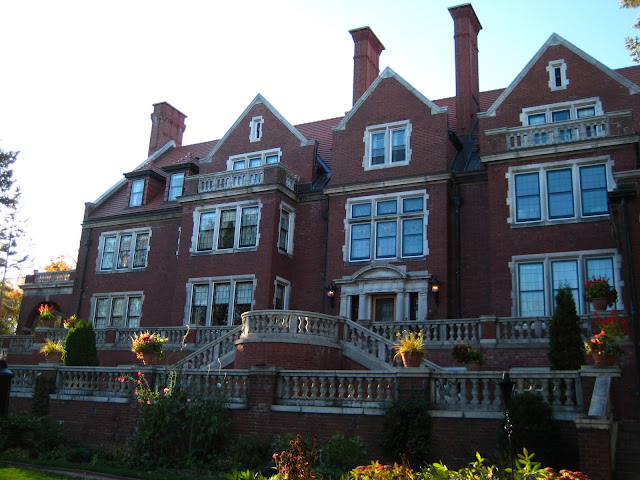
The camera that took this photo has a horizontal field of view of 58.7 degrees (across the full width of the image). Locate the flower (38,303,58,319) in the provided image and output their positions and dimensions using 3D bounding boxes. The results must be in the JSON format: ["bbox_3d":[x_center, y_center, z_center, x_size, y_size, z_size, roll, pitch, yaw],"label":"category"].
[{"bbox_3d":[-14.930,3.863,31.138,1.131,0.838,1.169,-1,-10,2],"label":"flower"}]

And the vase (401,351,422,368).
[{"bbox_3d":[2.296,2.968,14.198,0.445,0.268,0.415,1,-25,-1],"label":"vase"}]

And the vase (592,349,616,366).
[{"bbox_3d":[6.558,2.740,13.205,0.606,0.353,0.387,-5,-18,22],"label":"vase"}]

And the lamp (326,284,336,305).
[{"bbox_3d":[0.439,2.318,24.283,0.465,0.830,0.367,-10,-21,34],"label":"lamp"}]

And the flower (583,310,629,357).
[{"bbox_3d":[7.443,2.450,14.760,1.113,1.196,1.077,20,-18,-35],"label":"flower"}]

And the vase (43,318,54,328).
[{"bbox_3d":[-13.203,3.974,27.553,0.574,0.359,0.539,2,-19,-6],"label":"vase"}]

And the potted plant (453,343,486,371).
[{"bbox_3d":[4.588,3.606,17.471,0.911,0.830,0.848,14,-20,-38],"label":"potted plant"}]

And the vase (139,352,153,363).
[{"bbox_3d":[-5.557,3.801,18.275,0.463,0.327,0.435,1,-16,-3],"label":"vase"}]

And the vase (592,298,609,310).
[{"bbox_3d":[8.108,1.883,16.501,0.386,0.243,0.363,1,-17,5],"label":"vase"}]

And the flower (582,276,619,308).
[{"bbox_3d":[8.216,1.540,16.685,0.729,0.909,0.701,-8,-19,30],"label":"flower"}]

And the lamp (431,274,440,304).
[{"bbox_3d":[4.486,1.922,22.378,0.424,1.138,0.416,-6,-19,23],"label":"lamp"}]
